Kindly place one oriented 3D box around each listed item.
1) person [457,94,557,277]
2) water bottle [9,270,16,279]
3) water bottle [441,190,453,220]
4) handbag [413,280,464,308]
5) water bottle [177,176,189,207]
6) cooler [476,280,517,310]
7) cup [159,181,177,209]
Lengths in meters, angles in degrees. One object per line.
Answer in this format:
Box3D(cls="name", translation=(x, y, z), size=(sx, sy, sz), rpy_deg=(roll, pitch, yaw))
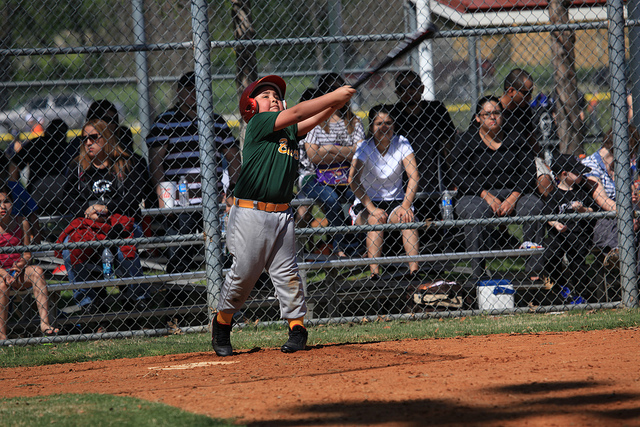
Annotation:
Box3D(cls="person", translation=(2.140, -0.335, 10.746), size=(1.097, 2.106, 1.225), rpy_deg=(0, -2, 10))
Box3D(cls="water bottle", translation=(-3.369, 0.644, 10.204), size=(0.057, 0.079, 0.026), rpy_deg=(7, -5, 0))
Box3D(cls="water bottle", translation=(1.473, -0.102, 10.824), size=(0.130, 0.325, 0.303), rpy_deg=(0, -2, 8))
Box3D(cls="handbag", translation=(1.335, 0.905, 10.480), size=(0.403, 0.195, 0.316), rpy_deg=(-4, -6, 32))
Box3D(cls="water bottle", translation=(-1.606, -0.274, 10.953), size=(0.133, 0.362, 0.412), rpy_deg=(1, -2, -8))
Box3D(cls="cooler", translation=(1.987, 0.905, 10.616), size=(0.423, 0.322, 0.433), rpy_deg=(0, -2, -12))
Box3D(cls="cup", translation=(-1.699, -0.233, 10.931), size=(0.184, 0.311, 0.304), rpy_deg=(-2, -4, 19))
